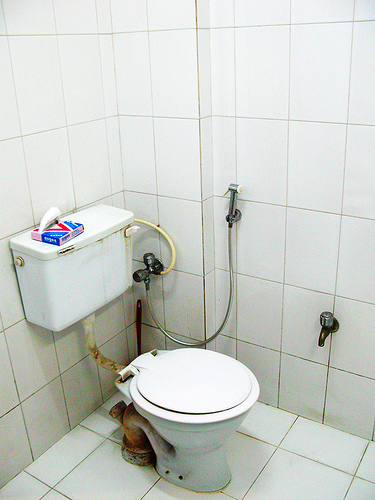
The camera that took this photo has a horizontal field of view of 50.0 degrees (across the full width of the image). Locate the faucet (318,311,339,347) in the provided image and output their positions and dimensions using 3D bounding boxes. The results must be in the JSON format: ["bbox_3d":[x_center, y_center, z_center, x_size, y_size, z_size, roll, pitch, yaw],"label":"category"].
[{"bbox_3d":[0.536,0.291,1.543,0.064,0.127,0.118,6,17,31],"label":"faucet"}]

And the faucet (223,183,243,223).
[{"bbox_3d":[0.172,-0.193,1.610,0.092,0.154,0.092,4,15,24],"label":"faucet"}]

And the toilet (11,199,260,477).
[{"bbox_3d":[-0.143,0.357,1.483,0.823,0.999,0.530,6,15,28],"label":"toilet"}]
